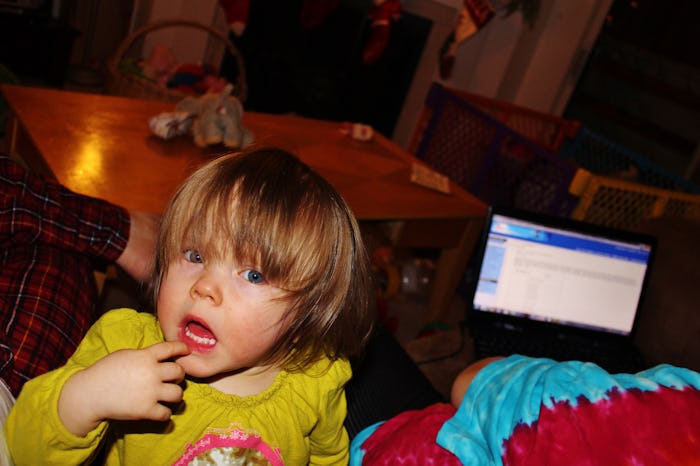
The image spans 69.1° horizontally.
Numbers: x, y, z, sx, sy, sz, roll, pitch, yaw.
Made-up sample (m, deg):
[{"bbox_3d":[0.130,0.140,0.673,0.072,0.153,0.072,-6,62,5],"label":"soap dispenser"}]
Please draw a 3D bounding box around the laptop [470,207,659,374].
[{"bbox_3d":[0.713,0.201,1.662,0.605,0.457,0.268,13,20,-6],"label":"laptop"}]

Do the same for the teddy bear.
[{"bbox_3d":[-0.539,-0.451,1.950,0.355,0.238,0.272,18,19,7],"label":"teddy bear"}]
